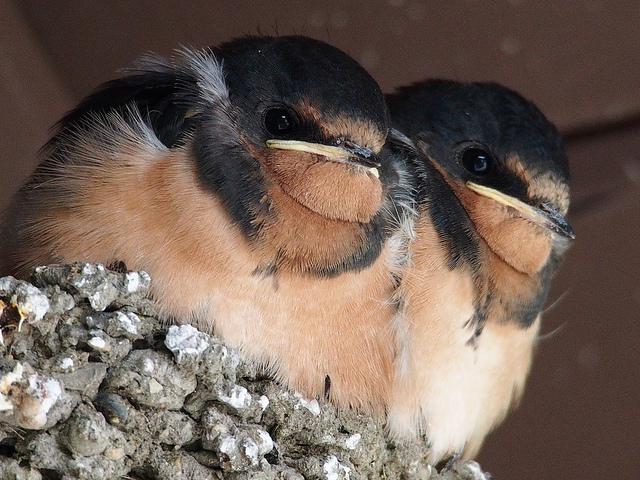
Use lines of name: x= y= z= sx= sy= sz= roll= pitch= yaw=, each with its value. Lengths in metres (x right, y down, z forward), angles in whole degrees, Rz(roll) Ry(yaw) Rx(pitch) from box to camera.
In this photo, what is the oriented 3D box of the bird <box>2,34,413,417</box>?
bird: x=-0.134 y=-0.052 z=1.866 sx=0.752 sy=0.505 sz=0.444 roll=23 pitch=-33 yaw=7
